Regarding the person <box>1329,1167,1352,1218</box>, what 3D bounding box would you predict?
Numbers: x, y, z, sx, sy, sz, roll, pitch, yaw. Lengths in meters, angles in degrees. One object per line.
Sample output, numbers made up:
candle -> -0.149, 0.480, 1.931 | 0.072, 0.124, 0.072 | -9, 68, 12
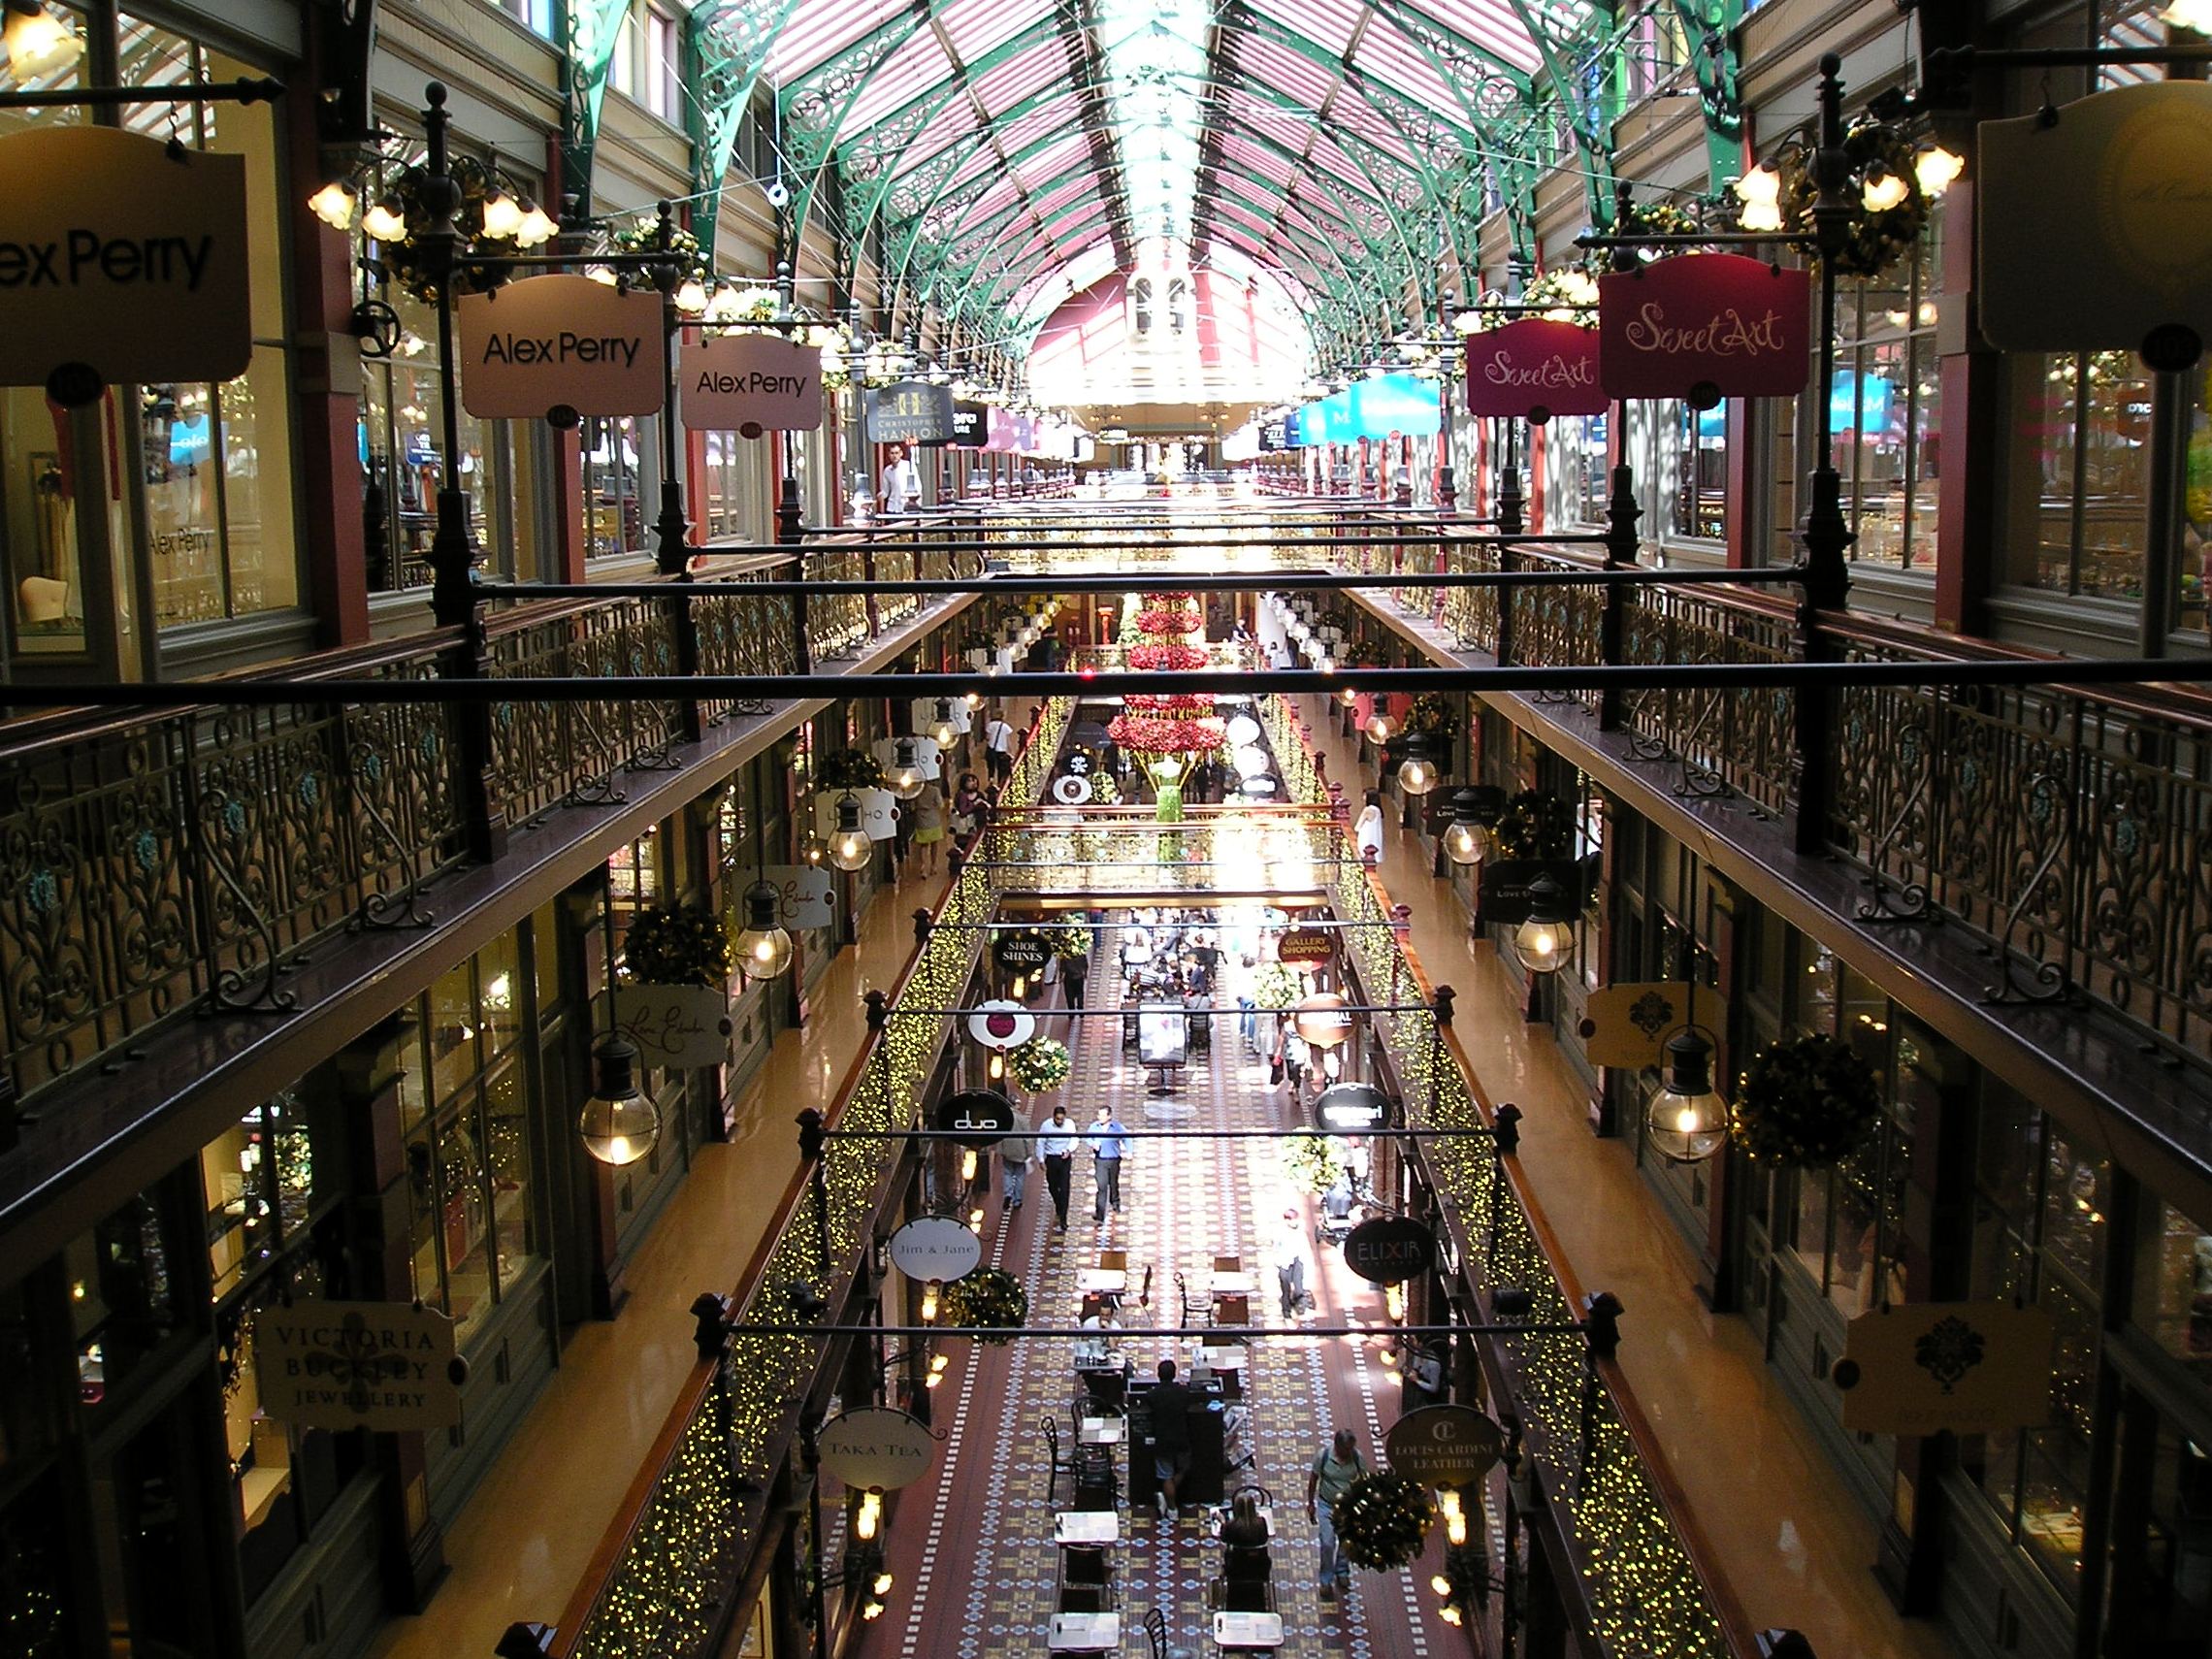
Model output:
person -> 2.883, 4.405, 21.529 | 0.237, 0.512, 0.865 | -1, -13, 7
